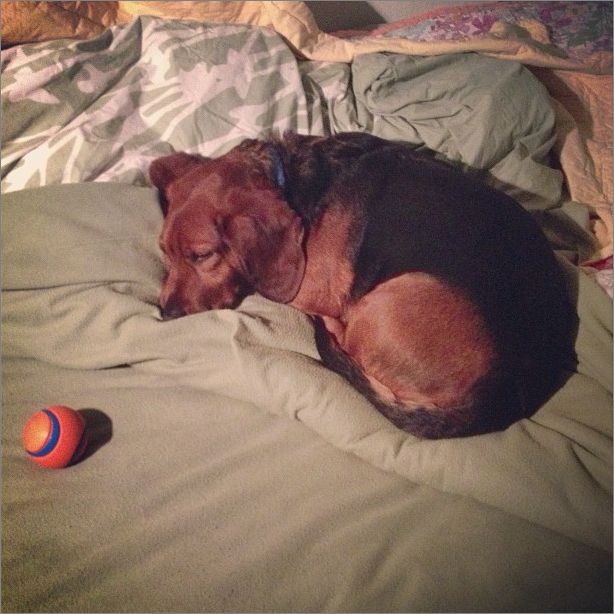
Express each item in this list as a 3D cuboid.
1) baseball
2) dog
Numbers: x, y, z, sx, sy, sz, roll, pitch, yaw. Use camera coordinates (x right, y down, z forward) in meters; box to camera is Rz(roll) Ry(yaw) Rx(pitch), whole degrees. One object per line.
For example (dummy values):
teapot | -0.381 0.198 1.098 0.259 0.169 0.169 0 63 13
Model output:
baseball | -0.516 0.269 1.670 0.125 0.125 0.125 20 94 15
dog | 0.109 -0.125 1.851 1.003 0.319 0.699 20 50 16
